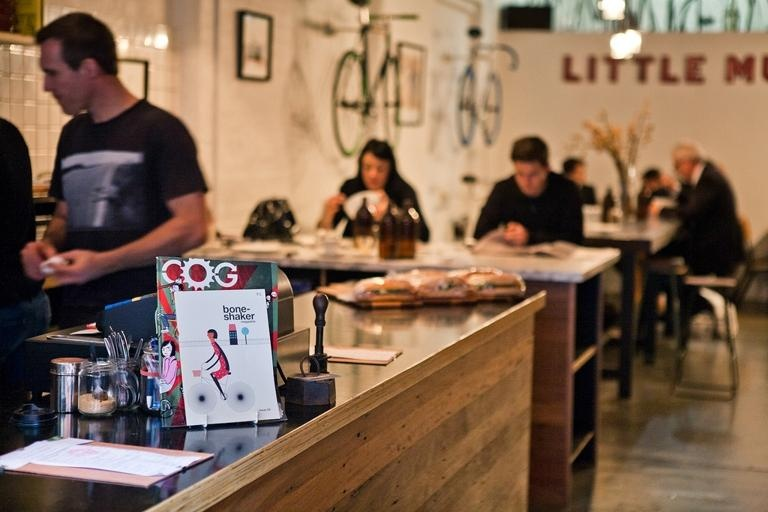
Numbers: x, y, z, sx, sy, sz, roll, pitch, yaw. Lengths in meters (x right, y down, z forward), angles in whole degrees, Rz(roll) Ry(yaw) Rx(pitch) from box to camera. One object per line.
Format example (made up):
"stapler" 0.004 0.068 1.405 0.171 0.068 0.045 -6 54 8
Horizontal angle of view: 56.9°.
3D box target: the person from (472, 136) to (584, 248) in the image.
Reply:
"person" 1.031 -0.294 4.963 0.737 1.051 0.614 2 22 18

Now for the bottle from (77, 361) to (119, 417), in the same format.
"bottle" -0.637 0.291 1.584 0.081 0.113 0.079 0 0 0

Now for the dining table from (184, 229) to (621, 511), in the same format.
"dining table" 0.698 0.403 4.020 1.536 0.951 1.561 2 5 26

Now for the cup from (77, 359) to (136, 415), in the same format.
"cup" -0.605 0.286 1.562 0.119 0.113 0.116 2 3 0

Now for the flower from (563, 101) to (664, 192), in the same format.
"flower" 1.609 -0.731 4.743 0.421 0.426 0.398 -4 0 25

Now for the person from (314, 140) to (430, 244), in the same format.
"person" -0.094 -0.267 5.039 0.736 1.037 0.677 4 7 8

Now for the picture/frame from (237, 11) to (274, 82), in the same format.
"picture/frame" -0.832 -1.350 4.586 0.255 0.425 0.196 -3 11 -12
